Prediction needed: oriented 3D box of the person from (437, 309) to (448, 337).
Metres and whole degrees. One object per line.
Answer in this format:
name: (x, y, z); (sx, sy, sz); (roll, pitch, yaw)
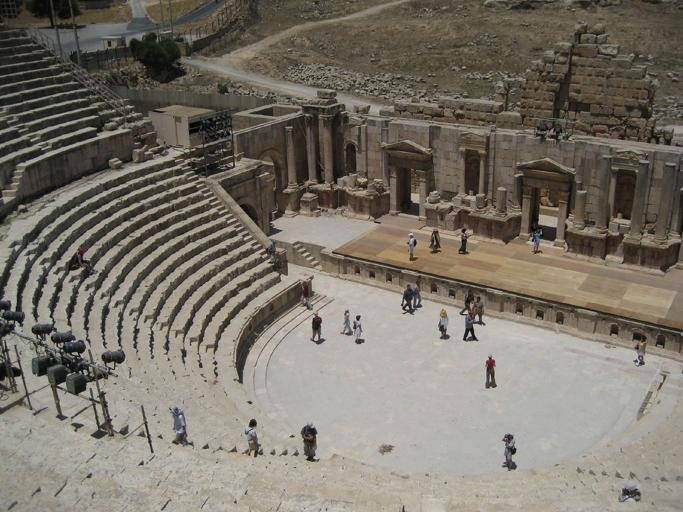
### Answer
person: (5.296, 3.431, 34.504); (0.469, 1.566, 0.845); (0, 25, 6)

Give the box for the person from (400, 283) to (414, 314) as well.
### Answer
person: (3.696, 2.461, 37.486); (0.932, 1.719, 0.830); (3, 32, 19)

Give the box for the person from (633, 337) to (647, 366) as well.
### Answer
person: (14.742, 4.761, 32.629); (0.509, 2.171, 0.521); (3, 22, 14)

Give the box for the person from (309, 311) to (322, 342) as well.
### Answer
person: (-1.402, 3.647, 34.701); (0.542, 1.429, 1.119); (-3, 25, -2)

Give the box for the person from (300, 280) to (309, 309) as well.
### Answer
person: (-2.137, 2.145, 37.879); (0.482, 1.352, 1.122); (-5, 25, -4)

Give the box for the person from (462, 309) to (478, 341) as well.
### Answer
person: (6.730, 3.394, 34.520); (0.691, 1.538, 1.634); (3, 25, 11)

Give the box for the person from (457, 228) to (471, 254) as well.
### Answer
person: (7.548, -0.886, 40.920); (1.109, 1.830, 0.772); (-1, 34, 13)

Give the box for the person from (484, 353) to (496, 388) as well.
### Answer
person: (6.879, 5.241, 30.306); (0.529, 1.585, 0.887); (3, 26, 11)

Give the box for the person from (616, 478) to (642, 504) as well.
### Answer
person: (8.810, 7.186, 20.118); (0.745, 0.609, 0.727); (4, 26, 13)

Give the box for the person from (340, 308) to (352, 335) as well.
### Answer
person: (0.180, 3.603, 35.719); (0.857, 1.304, 0.388); (11, 43, 16)

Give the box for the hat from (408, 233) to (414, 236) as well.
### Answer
hat: (4.226, -1.346, 40.769); (0.335, 0.083, 0.346); (4, 17, 9)

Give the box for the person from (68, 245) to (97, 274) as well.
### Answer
person: (-12.030, 0.190, 30.719); (1.226, 1.454, 0.892); (13, 32, -36)

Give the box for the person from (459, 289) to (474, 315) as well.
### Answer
person: (6.830, 2.532, 36.263); (0.570, 1.298, 0.411); (34, 71, 18)
